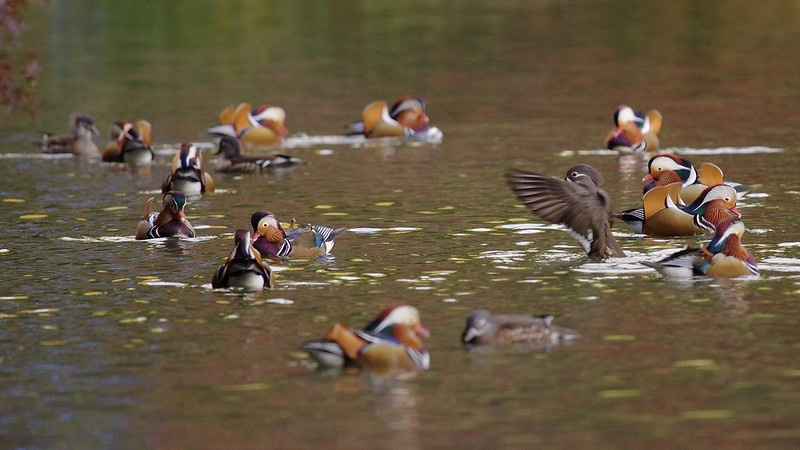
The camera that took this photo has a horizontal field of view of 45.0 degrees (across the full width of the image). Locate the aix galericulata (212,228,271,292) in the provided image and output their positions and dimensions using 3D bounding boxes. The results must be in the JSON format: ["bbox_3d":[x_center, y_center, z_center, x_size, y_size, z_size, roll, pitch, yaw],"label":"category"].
[{"bbox_3d":[-2.417,0.522,14.682,0.883,0.962,0.603,-1,6,-3],"label":"aix galericulata"}]

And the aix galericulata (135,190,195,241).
[{"bbox_3d":[-4.216,-0.180,17.352,0.995,0.877,0.417,2,7,26],"label":"aix galericulata"}]

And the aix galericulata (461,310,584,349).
[{"bbox_3d":[1.593,1.404,13.543,1.674,0.626,0.506,-8,5,-16],"label":"aix galericulata"}]
